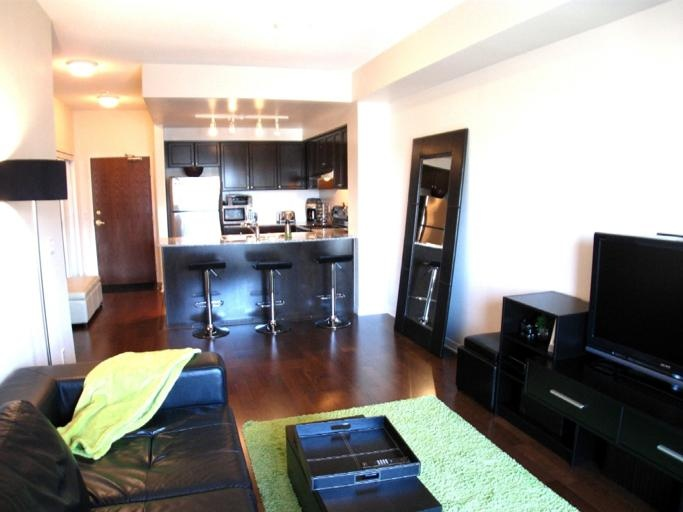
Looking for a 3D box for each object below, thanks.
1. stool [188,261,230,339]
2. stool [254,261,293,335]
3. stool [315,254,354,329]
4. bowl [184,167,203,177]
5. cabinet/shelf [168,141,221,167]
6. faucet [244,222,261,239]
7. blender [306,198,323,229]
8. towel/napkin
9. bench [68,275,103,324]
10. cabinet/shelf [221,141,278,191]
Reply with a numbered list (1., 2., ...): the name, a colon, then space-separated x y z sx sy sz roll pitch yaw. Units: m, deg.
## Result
1. stool: -1.557 0.471 5.903 0.407 0.856 0.662 -4 14 -16
2. stool: -0.829 0.446 6.135 0.444 0.825 0.720 -1 14 -6
3. stool: -0.093 0.393 6.316 0.442 0.879 0.768 0 14 -1
4. bowl: -2.443 -1.422 8.279 0.206 0.123 0.202 0 11 0
5. cabinet/shelf: -2.438 -1.691 8.265 0.856 0.395 0.132 -2 14 -8
6. faucet: -1.345 -0.395 7.547 0.286 0.181 0.370 2 11 -18
7. blender: -0.463 -0.771 8.769 0.308 0.427 0.762 -1 13 -5
8. towel/napkin: -1.368 0.888 3.104 0.437 0.165 0.630 16 40 0
9. bench: -3.229 0.553 6.318 0.304 0.251 0.547 -1 11 -15
10. cabinet/shelf: -1.596 -1.564 8.486 0.825 0.701 0.284 -1 13 -8
